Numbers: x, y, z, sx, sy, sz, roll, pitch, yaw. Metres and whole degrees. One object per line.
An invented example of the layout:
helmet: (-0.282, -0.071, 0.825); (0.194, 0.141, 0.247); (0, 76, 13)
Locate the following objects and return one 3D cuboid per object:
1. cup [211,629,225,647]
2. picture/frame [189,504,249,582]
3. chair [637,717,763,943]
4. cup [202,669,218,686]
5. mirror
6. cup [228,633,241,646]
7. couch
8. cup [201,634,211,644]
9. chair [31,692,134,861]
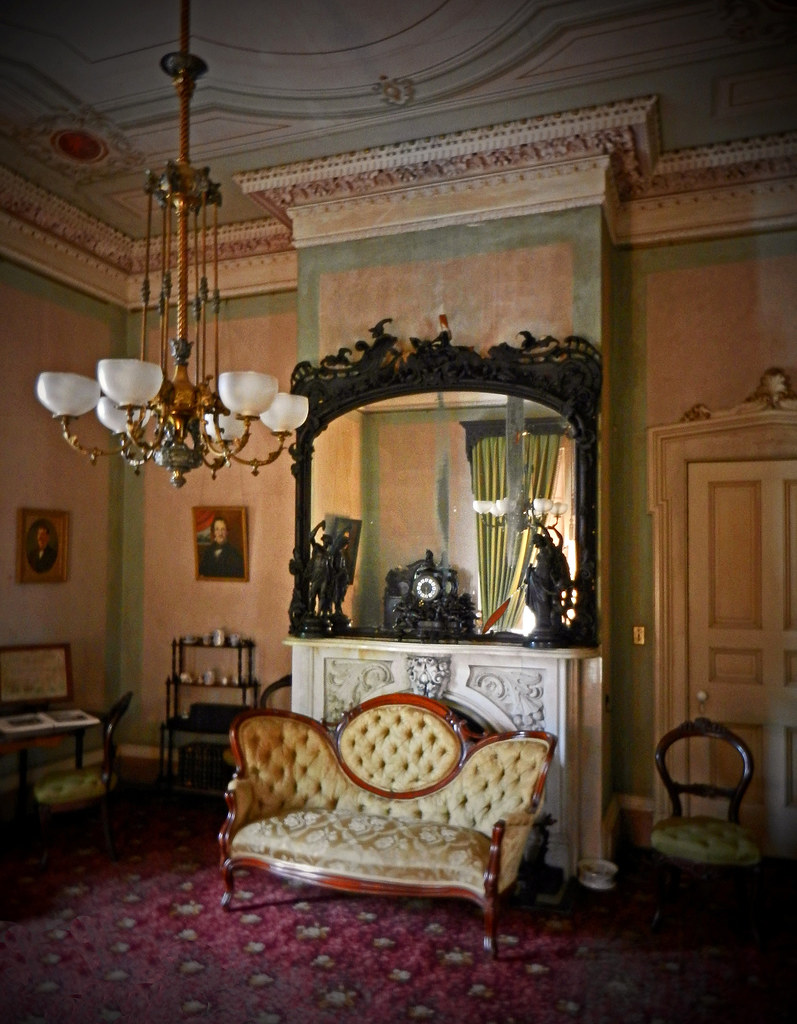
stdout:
cup: (-1.255, 0.853, 6.402); (0.106, 0.110, 0.102); (-2, -9, 0)
picture/frame: (-1.237, 0.215, 6.515); (0.556, 0.619, 0.073); (-1, -3, 28)
chair: (1.504, 1.455, 4.614); (0.500, 0.885, 1.165); (0, -1, 18)
cup: (-1.284, 1.123, 6.359); (0.104, 0.106, 0.105); (0, -3, 0)
mirror: (0.326, -0.153, 5.239); (2.043, 1.953, 0.123); (-1, -6, 25)
cup: (-1.119, 0.873, 6.377); (0.072, 0.078, 0.072); (1, -1, 0)
couch: (-0.094, 1.467, 4.572); (1.667, 0.909, 0.823); (-1, 1, 22)
cup: (-1.346, 0.891, 6.527); (0.062, 0.058, 0.032); (0, -4, 3)
chair: (-1.770, 1.476, 5.183); (0.605, 0.774, 0.485); (-3, -11, -23)
